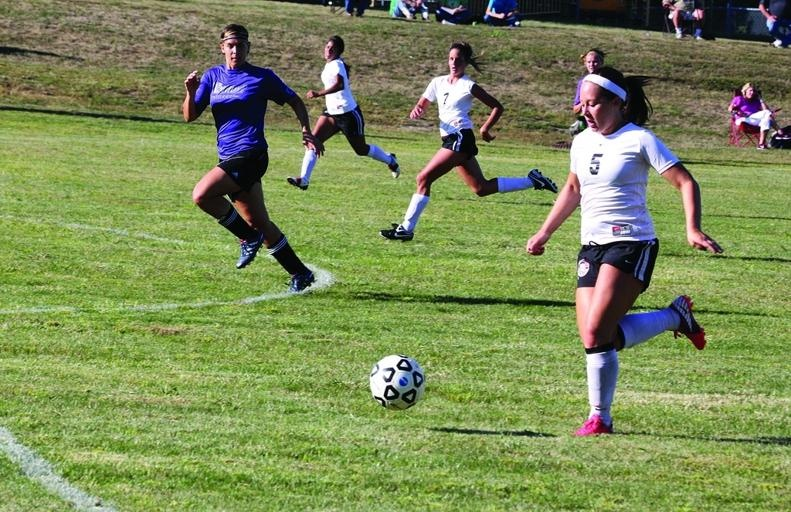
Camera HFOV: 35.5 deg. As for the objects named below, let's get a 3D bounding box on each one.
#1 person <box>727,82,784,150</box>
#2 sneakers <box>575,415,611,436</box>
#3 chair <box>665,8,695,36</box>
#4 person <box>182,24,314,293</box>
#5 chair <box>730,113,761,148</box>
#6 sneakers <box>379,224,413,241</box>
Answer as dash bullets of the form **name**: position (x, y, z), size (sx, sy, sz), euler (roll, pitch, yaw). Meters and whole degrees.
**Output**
- **person**: position (9.103, -3.511, 31.357), size (1.138, 1.576, 1.418), euler (5, 8, 14)
- **sneakers**: position (2.216, 1.889, 13.705), size (0.545, 0.179, 0.164), euler (0, -3, -6)
- **chair**: position (9.620, -8.001, 42.332), size (1.254, 1.316, 1.215), euler (-2, 10, 14)
- **person**: position (-1.973, -1.292, 16.479), size (1.684, 3.508, 0.609), euler (2, 9, -10)
- **chair**: position (8.991, -3.212, 31.773), size (0.856, 0.997, 0.793), euler (4, -19, -3)
- **sneakers**: position (0.028, -0.366, 19.152), size (0.610, 0.243, 0.194), euler (4, 14, -1)
